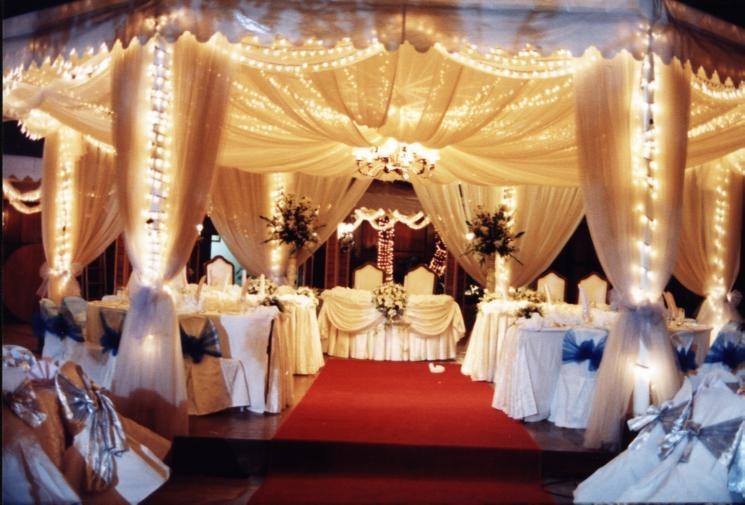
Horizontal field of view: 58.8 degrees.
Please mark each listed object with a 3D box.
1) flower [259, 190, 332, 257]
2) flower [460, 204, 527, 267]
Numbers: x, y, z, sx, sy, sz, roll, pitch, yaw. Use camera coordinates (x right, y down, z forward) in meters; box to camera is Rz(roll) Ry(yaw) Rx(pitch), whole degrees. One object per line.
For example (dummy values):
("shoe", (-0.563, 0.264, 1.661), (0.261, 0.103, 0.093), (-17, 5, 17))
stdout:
("flower", (-1.122, -0.431, 9.549), (0.801, 0.888, 0.519), (8, -8, -14))
("flower", (1.745, -0.266, 9.404), (0.658, 0.812, 0.822), (-1, 1, -3))
